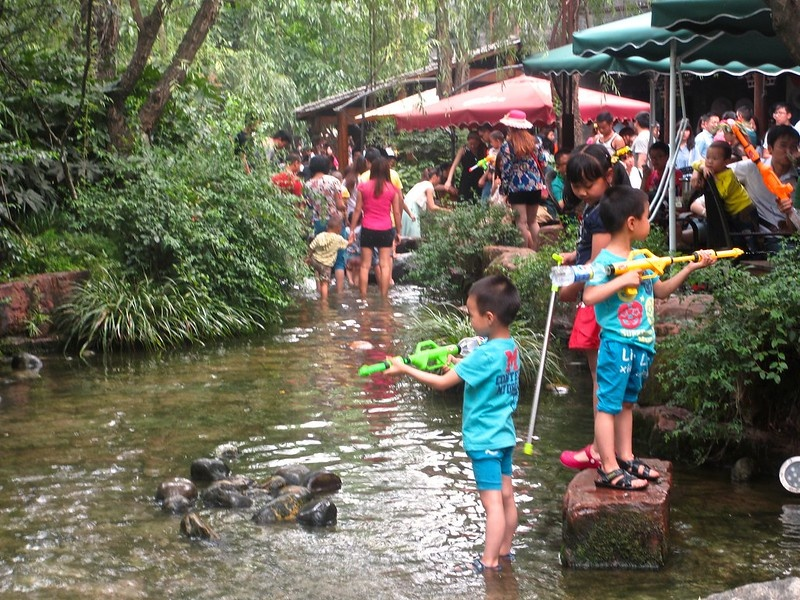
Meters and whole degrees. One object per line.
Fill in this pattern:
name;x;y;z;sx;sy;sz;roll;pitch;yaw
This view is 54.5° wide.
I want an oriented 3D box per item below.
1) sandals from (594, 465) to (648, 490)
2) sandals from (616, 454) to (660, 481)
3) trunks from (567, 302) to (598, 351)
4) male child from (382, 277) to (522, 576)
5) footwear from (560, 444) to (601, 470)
sandals;1.328;1.069;4.661;0.227;0.104;0.134;-2;9;8
sandals;1.445;1.024;4.708;0.261;0.079;0.110;17;24;34
trunks;1.204;0.155;5.097;0.143;0.299;0.225;9;29;28
male child;0.406;0.617;4.622;0.674;1.780;0.589;1;6;21
footwear;1.152;0.996;5.000;0.283;0.135;0.116;0;35;3
